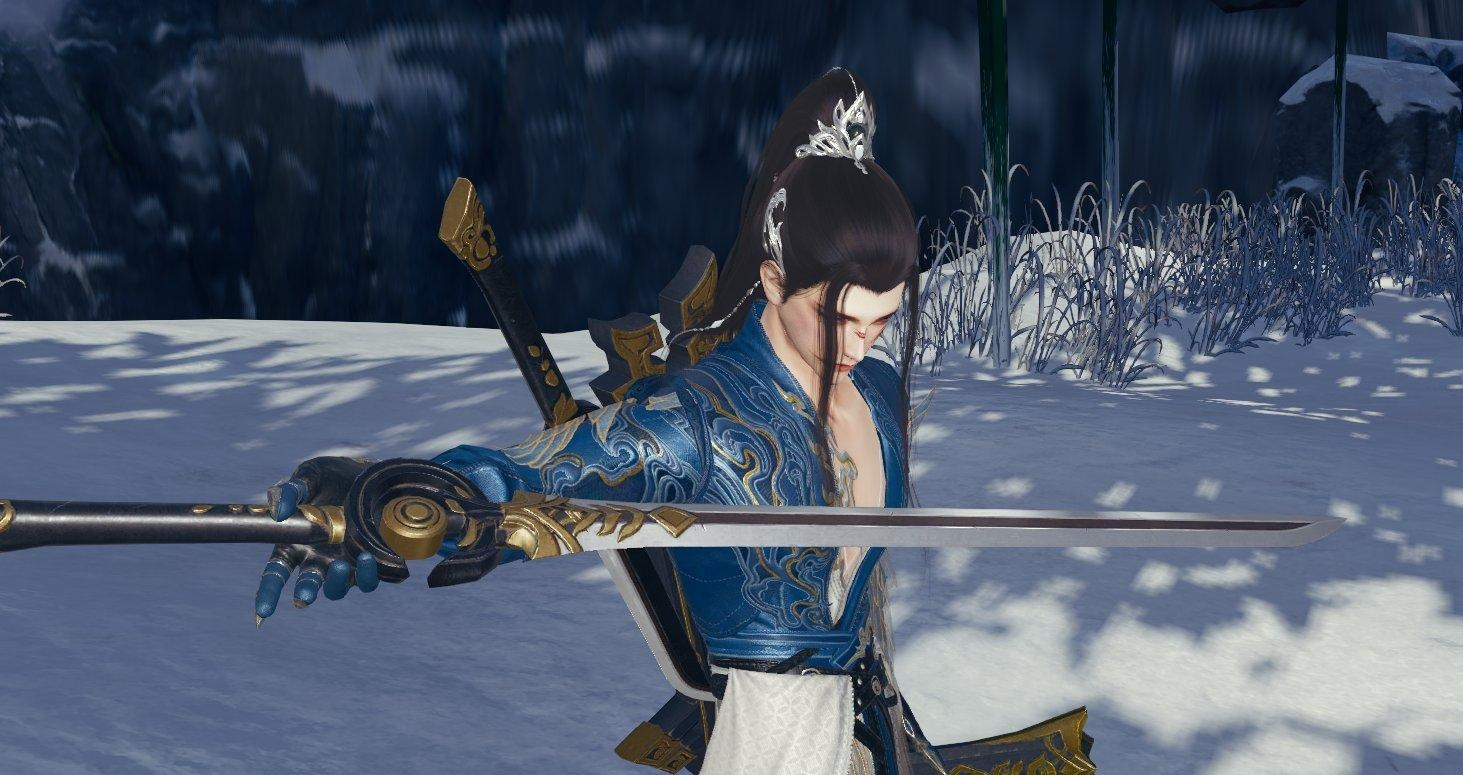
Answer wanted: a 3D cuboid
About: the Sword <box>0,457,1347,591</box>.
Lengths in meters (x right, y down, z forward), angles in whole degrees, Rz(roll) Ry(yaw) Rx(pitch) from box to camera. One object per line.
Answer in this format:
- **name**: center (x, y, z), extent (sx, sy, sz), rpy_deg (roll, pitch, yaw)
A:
- **Sword**: center (-0.122, 0.608, 5.311), extent (4.214, 0.253, 0.732), rpy_deg (1, 1, -5)
